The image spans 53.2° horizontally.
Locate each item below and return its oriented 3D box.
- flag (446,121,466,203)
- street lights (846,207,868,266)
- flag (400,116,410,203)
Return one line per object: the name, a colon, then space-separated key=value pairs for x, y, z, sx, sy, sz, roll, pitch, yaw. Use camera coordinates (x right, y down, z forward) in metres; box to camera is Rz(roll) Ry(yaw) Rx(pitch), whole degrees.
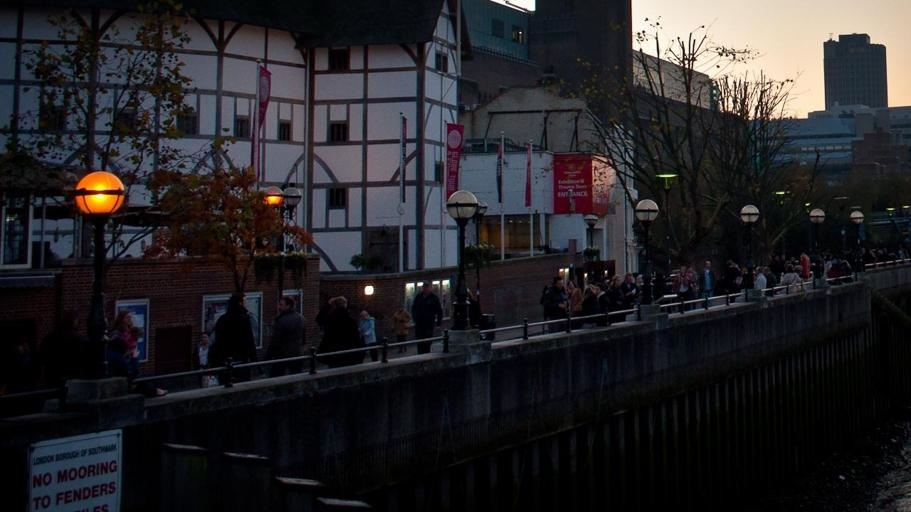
flag: x=-0.107 y=-5.612 z=54.828 sx=1.159 sy=4.486 sz=0.126 roll=1 pitch=1 yaw=33
street lights: x=24.929 y=-1.223 z=56.373 sx=0.762 sy=2.858 sz=0.782 roll=-1 pitch=2 yaw=42
flag: x=-3.110 y=-5.955 z=53.759 sx=0.187 sy=4.883 sz=1.260 roll=3 pitch=-4 yaw=-41
